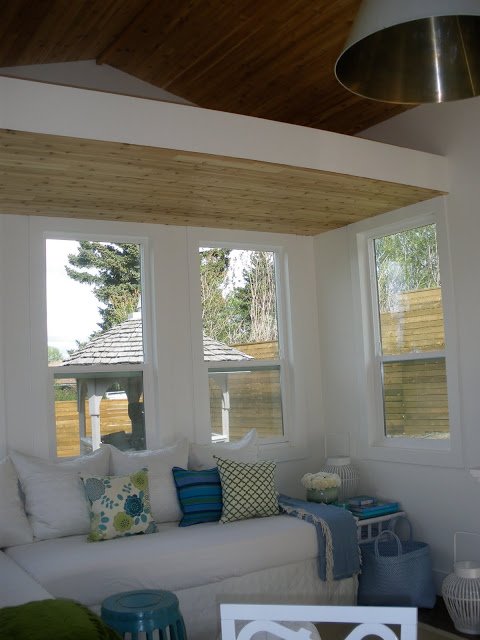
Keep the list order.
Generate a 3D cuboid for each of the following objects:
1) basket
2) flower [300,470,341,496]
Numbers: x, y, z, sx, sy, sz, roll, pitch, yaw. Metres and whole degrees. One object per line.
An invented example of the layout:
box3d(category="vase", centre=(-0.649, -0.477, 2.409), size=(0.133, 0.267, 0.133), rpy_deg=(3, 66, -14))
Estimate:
box3d(category="basket", centre=(1.040, 1.649, 3.504), size=(0.498, 0.550, 0.806), rpy_deg=(-5, -1, 18))
box3d(category="flower", centre=(0.628, 1.204, 3.908), size=(0.208, 0.097, 0.171), rpy_deg=(8, -11, -41))
